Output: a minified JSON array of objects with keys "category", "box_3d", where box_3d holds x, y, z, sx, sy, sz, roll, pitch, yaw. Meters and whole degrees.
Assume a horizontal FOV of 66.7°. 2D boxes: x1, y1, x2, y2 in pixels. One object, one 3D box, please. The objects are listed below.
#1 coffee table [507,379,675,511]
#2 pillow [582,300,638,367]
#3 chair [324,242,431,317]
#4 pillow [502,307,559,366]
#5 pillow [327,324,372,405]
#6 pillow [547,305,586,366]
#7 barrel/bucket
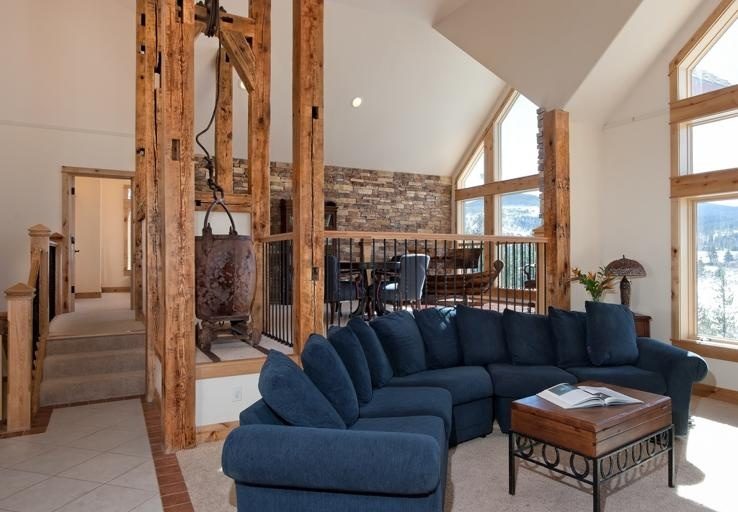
[{"category":"coffee table","box_3d":[1.913,1.485,4.883,1.302,0.848,0.936,3,-5,-34]},{"category":"pillow","box_3d":[2.501,0.815,5.807,0.553,0.596,0.205,5,-28,-12]},{"category":"chair","box_3d":[0.074,0.304,7.474,1.191,0.838,0.956,2,0,33]},{"category":"pillow","box_3d":[1.681,0.841,5.835,0.509,0.517,0.154,6,-23,-9]},{"category":"pillow","box_3d":[-0.163,0.939,4.764,0.230,0.378,0.467,-9,39,-14]},{"category":"pillow","box_3d":[2.107,0.837,5.836,0.498,0.482,0.145,-1,-14,-19]},{"category":"barrel/bucket","box_3d":[-1.438,0.047,5.615,0.592,1.197,0.381,-2,0,-18]}]
